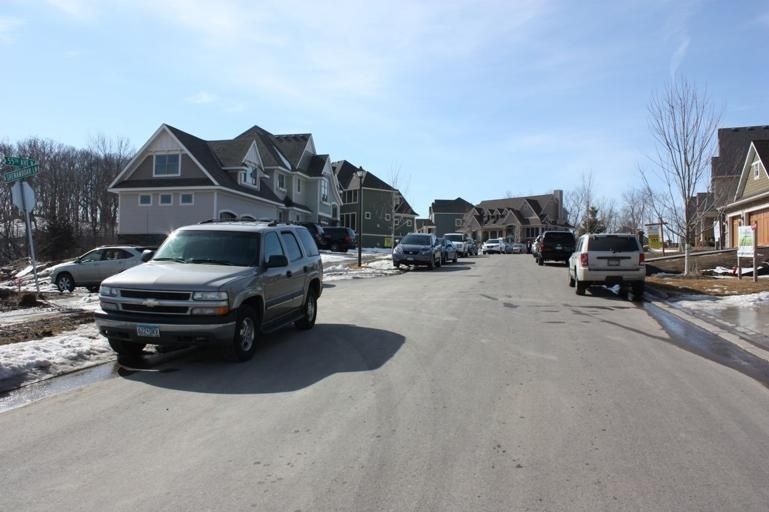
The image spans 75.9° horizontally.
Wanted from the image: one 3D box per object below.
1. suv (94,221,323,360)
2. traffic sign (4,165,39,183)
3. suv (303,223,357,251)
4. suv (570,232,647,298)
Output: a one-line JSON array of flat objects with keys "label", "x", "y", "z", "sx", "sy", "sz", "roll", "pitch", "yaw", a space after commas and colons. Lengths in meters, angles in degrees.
[{"label": "suv", "x": -2.847, "y": 0.561, "z": 9.228, "sx": 2.208, "sy": 1.802, "sz": 3.827, "roll": -1, "pitch": -3, "yaw": 15}, {"label": "traffic sign", "x": -11.126, "y": -2.516, "z": 15.057, "sx": 1.107, "sy": 0.501, "sz": 0.652, "roll": 6, "pitch": 11, "yaw": 34}, {"label": "suv", "x": -4.336, "y": -1.538, "z": 39.854, "sx": 4.067, "sy": 1.597, "sz": 1.953, "roll": 4, "pitch": -1, "yaw": -7}, {"label": "suv", "x": 7.227, "y": 0.167, "z": 16.533, "sx": 1.442, "sy": 1.503, "sz": 2.863, "roll": 0, "pitch": 7, "yaw": 8}]
